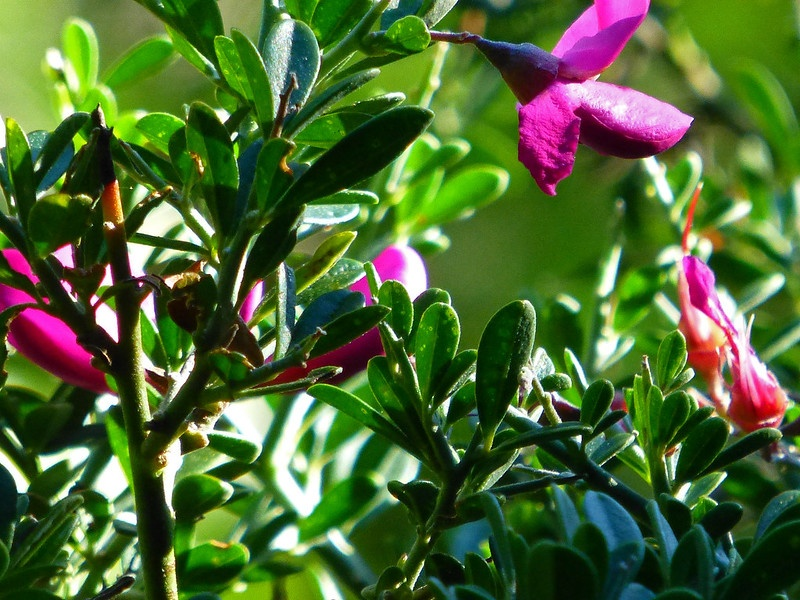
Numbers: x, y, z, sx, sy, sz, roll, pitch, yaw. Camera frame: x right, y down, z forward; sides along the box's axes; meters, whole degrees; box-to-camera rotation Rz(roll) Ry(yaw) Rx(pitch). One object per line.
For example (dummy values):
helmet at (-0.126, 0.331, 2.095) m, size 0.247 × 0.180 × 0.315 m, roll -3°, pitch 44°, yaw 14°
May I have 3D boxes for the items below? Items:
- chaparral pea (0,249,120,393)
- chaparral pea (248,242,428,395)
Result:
chaparral pea at (-0.230, 0.003, 0.651) m, size 0.031 × 0.087 × 0.086 m, roll -54°, pitch -38°, yaw -15°
chaparral pea at (-0.038, 0.022, 0.654) m, size 0.111 × 0.070 × 0.029 m, roll -39°, pitch -40°, yaw 16°
